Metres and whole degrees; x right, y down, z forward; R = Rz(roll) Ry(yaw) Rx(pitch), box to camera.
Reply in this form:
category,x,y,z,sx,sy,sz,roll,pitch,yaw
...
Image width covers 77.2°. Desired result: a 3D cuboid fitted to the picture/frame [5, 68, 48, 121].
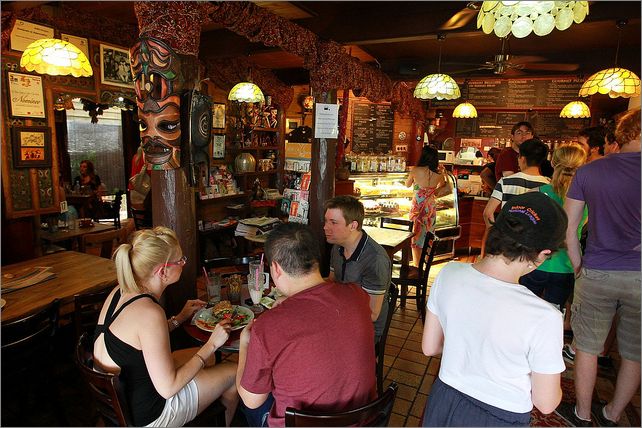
category,x,y,z,sx,sy,sz,roll,pitch,yaw
picture/frame,-3.322,-1.355,4.526,0.064,0.643,0.540,4,8,27

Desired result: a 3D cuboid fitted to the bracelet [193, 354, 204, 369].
category,x,y,z,sx,sy,sz,roll,pitch,yaw
bracelet,-0.830,0.986,2.728,0.031,0.083,0.083,-35,-8,-34

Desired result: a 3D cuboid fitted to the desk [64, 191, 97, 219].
category,x,y,z,sx,sy,sz,roll,pitch,yaw
desk,-4.410,-0.164,7.460,0.472,0.445,0.465,0,4,-1

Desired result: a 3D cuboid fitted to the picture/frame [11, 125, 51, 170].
category,x,y,z,sx,sy,sz,roll,pitch,yaw
picture/frame,-3.378,-0.783,4.683,0.062,0.568,0.515,6,8,25

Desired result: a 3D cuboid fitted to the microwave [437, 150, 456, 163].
category,x,y,z,sx,sy,sz,roll,pitch,yaw
microwave,2.680,-1.202,8.542,0.480,0.303,0.320,3,5,25

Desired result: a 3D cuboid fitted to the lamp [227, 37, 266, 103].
category,x,y,z,sx,sy,sz,roll,pitch,yaw
lamp,-1.000,-1.856,5.542,0.573,0.615,0.554,-4,20,-22

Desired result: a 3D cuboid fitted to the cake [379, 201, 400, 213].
category,x,y,z,sx,sy,sz,roll,pitch,yaw
cake,1.133,-0.126,6.552,0.202,0.129,0.205,4,5,42

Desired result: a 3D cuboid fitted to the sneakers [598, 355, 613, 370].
category,x,y,z,sx,sy,sz,roll,pitch,yaw
sneakers,2.837,1.473,4.031,0.124,0.114,0.123,0,1,18

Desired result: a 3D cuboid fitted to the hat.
category,x,y,z,sx,sy,sz,roll,pitch,yaw
hat,1.235,0.054,2.314,0.381,0.218,0.290,-12,28,-42

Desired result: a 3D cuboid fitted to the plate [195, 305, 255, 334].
category,x,y,z,sx,sy,sz,roll,pitch,yaw
plate,-0.743,0.789,3.021,0.238,0.041,0.232,1,18,-2

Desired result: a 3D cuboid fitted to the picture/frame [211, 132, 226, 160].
category,x,y,z,sx,sy,sz,roll,pitch,yaw
picture/frame,-1.607,-1.071,6.339,0.036,0.493,0.459,4,8,27

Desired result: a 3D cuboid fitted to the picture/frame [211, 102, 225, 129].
category,x,y,z,sx,sy,sz,roll,pitch,yaw
picture/frame,-1.605,-1.561,6.419,0.064,0.403,0.296,4,10,21

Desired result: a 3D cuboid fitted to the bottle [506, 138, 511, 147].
category,x,y,z,sx,sy,sz,roll,pitch,yaw
bottle,3.830,-1.433,8.212,0.120,0.190,0.118,-1,14,0

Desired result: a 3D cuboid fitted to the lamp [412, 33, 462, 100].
category,x,y,z,sx,sy,sz,roll,pitch,yaw
lamp,1.612,-1.999,5.448,0.645,0.913,0.669,5,3,19

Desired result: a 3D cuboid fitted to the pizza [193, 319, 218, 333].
category,x,y,z,sx,sy,sz,roll,pitch,yaw
pizza,-0.839,0.820,2.956,0.119,0.031,0.115,1,17,-36

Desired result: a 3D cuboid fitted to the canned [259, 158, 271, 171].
category,x,y,z,sx,sy,sz,roll,pitch,yaw
canned,-0.964,-0.868,7.104,0.199,0.187,0.199,-3,7,-19

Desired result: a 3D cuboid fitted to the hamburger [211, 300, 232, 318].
category,x,y,z,sx,sy,sz,roll,pitch,yaw
hamburger,-0.751,0.721,3.078,0.095,0.037,0.116,18,27,38
